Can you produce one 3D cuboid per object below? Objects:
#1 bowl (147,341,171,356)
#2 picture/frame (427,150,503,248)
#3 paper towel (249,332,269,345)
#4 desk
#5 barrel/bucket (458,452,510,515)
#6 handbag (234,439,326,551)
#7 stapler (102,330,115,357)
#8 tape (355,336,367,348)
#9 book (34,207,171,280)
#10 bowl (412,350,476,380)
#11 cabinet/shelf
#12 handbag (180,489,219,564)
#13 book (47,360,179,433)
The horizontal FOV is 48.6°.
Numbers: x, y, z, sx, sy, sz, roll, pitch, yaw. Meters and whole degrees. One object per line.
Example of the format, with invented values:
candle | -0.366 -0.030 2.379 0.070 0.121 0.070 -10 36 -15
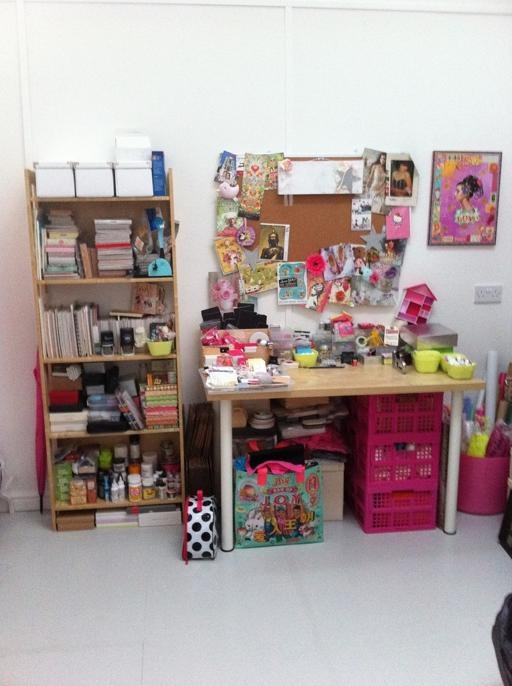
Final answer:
bowl | -0.486 0.020 2.884 0.129 0.081 0.177 -2 7 -9
picture/frame | 1.166 -0.845 3.212 0.536 0.650 0.071 -1 15 -8
paper towel | 0.022 -0.029 3.057 0.111 0.066 0.123 -1 7 -6
desk | 0.393 0.527 3.007 1.321 0.786 0.803 -2 9 -8
barrel/bucket | 1.169 0.747 3.127 0.301 0.337 0.313 0 3 0
handbag | 0.114 0.747 2.710 0.447 0.428 0.219 -2 8 -9
stapler | -0.742 -0.004 2.826 0.059 0.121 0.038 -4 8 -22
tape | 0.589 -0.013 3.176 0.047 0.060 0.060 5 6 3
book | -0.726 -0.511 2.850 0.659 0.355 0.319 -2 7 -7
bowl | 0.932 0.098 2.824 0.191 0.058 0.179 1 15 0
cabinet/shelf | -0.705 0.035 2.835 0.774 1.765 0.396 -8 24 -28
handbag | -0.263 0.861 2.632 0.165 0.299 0.305 -2 5 -2
book | -0.748 0.270 3.036 0.657 0.383 0.221 1 -8 -11
